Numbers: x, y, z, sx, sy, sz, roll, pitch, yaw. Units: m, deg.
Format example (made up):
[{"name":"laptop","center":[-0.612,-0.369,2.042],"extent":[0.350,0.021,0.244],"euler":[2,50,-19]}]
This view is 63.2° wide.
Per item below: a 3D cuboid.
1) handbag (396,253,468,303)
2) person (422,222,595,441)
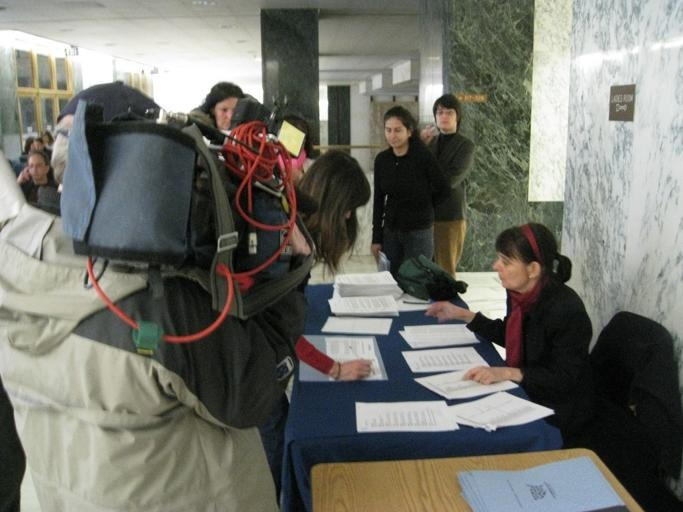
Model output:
[{"name":"handbag","center":[0.466,0.128,2.912],"extent":[0.292,0.130,0.226],"euler":[21,34,12]},{"name":"person","center":[0.671,0.282,2.795],"extent":[0.746,1.480,0.744],"euler":[1,0,1]}]
